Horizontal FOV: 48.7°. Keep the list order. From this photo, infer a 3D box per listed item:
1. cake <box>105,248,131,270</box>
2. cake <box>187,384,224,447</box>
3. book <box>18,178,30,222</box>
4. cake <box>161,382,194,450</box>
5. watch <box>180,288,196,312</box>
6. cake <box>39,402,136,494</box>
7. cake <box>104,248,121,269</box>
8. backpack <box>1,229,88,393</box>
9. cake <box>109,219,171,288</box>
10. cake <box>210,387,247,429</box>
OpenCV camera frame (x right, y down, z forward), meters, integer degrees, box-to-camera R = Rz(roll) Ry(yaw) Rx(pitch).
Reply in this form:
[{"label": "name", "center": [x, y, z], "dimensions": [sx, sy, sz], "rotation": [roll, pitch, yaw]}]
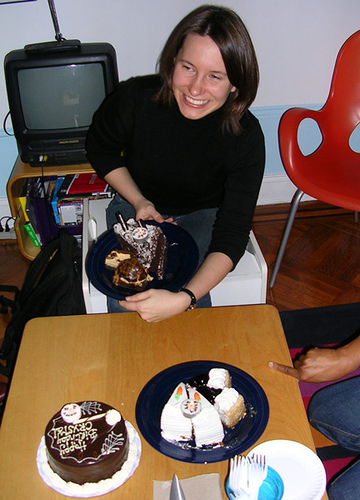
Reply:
[{"label": "cake", "center": [-0.163, 0.024, 1.052], "dimensions": [0.067, 0.032, 0.059], "rotation": [8, 37, 3]}, {"label": "cake", "center": [0.032, 0.304, 0.734], "dimensions": [0.066, 0.035, 0.150], "rotation": [-2, 19, -10]}, {"label": "book", "center": [-0.807, -0.274, 2.057], "dimensions": [0.045, 0.129, 0.198], "rotation": [-6, 39, -15]}, {"label": "cake", "center": [-0.005, 0.299, 0.733], "dimensions": [0.064, 0.027, 0.151], "rotation": [-6, 27, 1]}, {"label": "watch", "center": [0.027, 0.122, 0.972], "dimensions": [0.014, 0.048, 0.045], "rotation": [-18, 47, -17]}, {"label": "cake", "center": [-0.151, 0.315, 0.666], "dimensions": [0.164, 0.089, 0.161], "rotation": [8, 37, 2]}, {"label": "cake", "center": [-0.182, 0.014, 1.064], "dimensions": [0.045, 0.030, 0.075], "rotation": [-2, 38, -11]}, {"label": "backpack", "center": [-0.418, 0.178, 1.226], "dimensions": [0.255, 0.384, 0.448], "rotation": [5, 43, -27]}, {"label": "cake", "center": [-0.126, 0.000, 1.070], "dimensions": [0.175, 0.060, 0.211], "rotation": [6, 49, 2]}, {"label": "cake", "center": [0.091, 0.283, 0.732], "dimensions": [0.054, 0.049, 0.053], "rotation": [-40, 30, -23]}]
